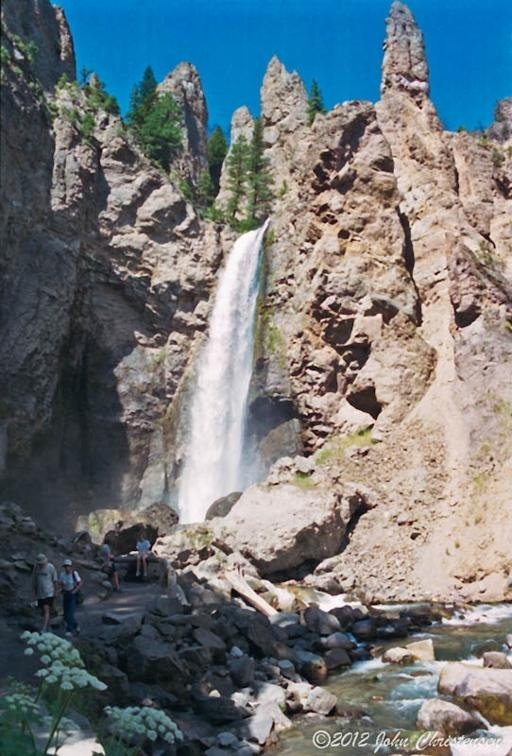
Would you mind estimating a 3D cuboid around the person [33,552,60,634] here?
[{"bbox_3d":[-4.151,4.272,18.009,0.495,1.377,1.106,6,-28,-11],"label":"person"}]

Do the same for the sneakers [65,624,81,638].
[{"bbox_3d":[-3.533,4.895,17.692,0.124,0.286,0.407,3,-4,4],"label":"sneakers"}]
